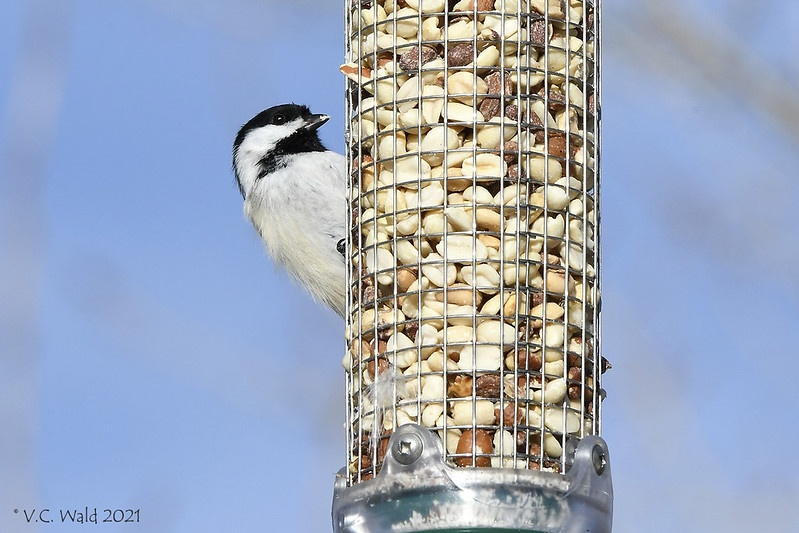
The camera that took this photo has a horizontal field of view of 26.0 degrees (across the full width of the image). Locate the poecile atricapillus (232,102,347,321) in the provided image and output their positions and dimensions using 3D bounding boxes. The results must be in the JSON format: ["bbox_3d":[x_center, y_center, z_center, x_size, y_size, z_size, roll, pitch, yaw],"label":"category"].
[{"bbox_3d":[-0.620,-0.392,9.570,0.667,1.178,0.564,1,-36,2],"label":"poecile atricapillus"}]
